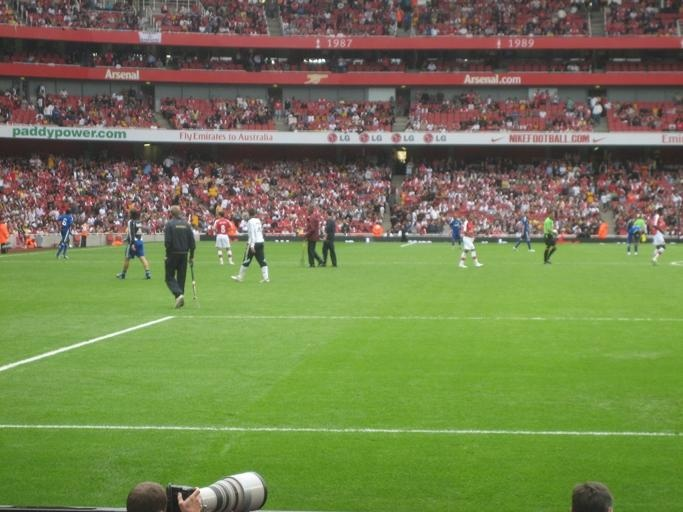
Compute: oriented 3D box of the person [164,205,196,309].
[{"bbox_3d":[-6.648,0.080,50.774,1.116,4.218,0.725,1,1,-8],"label":"person"}]
